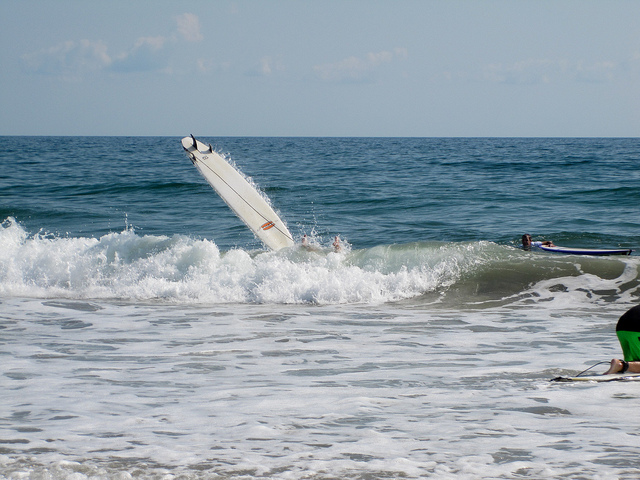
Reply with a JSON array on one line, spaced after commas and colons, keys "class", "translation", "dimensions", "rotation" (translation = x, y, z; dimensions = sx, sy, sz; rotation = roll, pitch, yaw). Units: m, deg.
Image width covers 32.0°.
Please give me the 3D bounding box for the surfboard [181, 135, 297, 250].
[{"class": "surfboard", "translation": [-1.914, -1.183, 26.434], "dimensions": [2.160, 2.737, 0.627], "rotation": [-12, -1, 26]}]
